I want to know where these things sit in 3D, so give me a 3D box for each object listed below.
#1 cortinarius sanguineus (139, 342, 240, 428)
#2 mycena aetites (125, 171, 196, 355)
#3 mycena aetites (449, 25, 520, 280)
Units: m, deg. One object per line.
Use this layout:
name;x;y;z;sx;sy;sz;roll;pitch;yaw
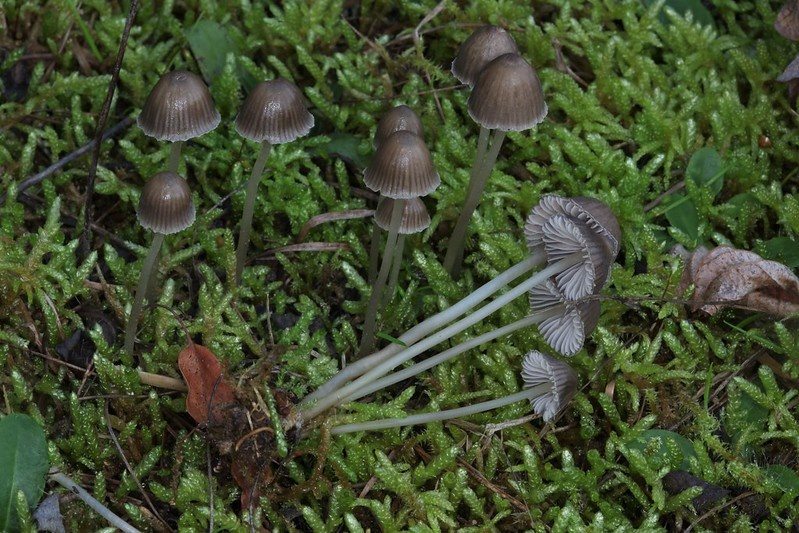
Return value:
cortinarius sanguineus;-1.424;0.827;5.089;0.367;0.108;0.649;-41;83;-2
mycena aetites;-1.786;0.045;5.320;0.448;1.394;0.372;2;26;-22
mycena aetites;1.018;-0.725;6.074;0.535;2.406;0.582;-11;44;2
